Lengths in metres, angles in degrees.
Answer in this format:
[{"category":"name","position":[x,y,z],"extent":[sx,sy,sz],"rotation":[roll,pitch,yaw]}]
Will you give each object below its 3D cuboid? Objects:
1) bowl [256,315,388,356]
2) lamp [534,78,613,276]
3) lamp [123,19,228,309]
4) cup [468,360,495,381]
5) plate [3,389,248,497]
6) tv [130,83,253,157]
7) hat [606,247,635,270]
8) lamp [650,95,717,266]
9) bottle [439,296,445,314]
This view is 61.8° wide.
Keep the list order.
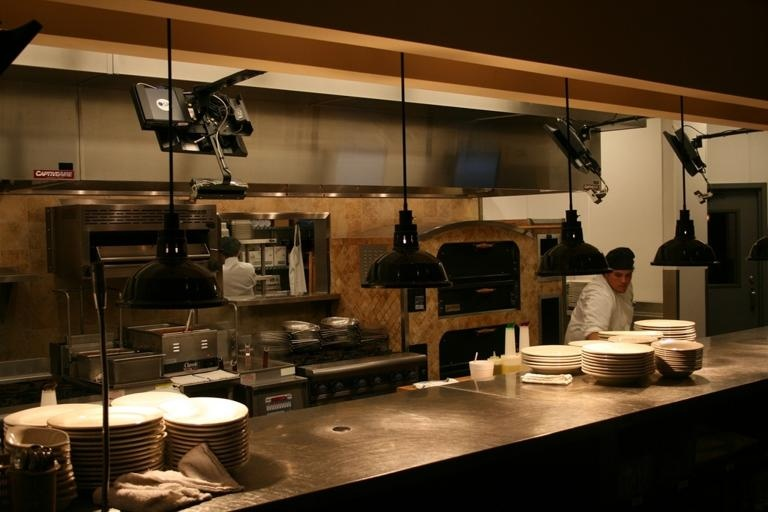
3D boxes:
[{"category":"bowl","position":[-0.567,0.758,6.048],"extent":[1.246,0.304,0.427],"rotation":[-3,6,-23]},{"category":"lamp","position":[1.161,-0.494,3.946],"extent":[0.513,1.195,0.462],"rotation":[-2,1,26]},{"category":"lamp","position":[-0.942,-0.408,2.730],"extent":[0.378,1.230,0.992],"rotation":[-3,6,-22]},{"category":"cup","position":[0.658,0.766,4.349],"extent":[0.140,0.086,0.142],"rotation":[1,0,0]},{"category":"plate","position":[-1.043,0.781,2.631],"extent":[0.577,0.158,0.554],"rotation":[0,-2,2]},{"category":"tv","position":[-1.163,-0.832,3.928],"extent":[0.249,0.355,0.753],"rotation":[-27,-13,37]},{"category":"hat","position":[2.015,0.026,5.455],"extent":[0.259,0.181,0.286],"rotation":[1,-3,2]},{"category":"lamp","position":[2.442,-0.508,5.229],"extent":[0.433,1.303,2.117],"rotation":[1,6,25]},{"category":"bottle","position":[0.562,0.494,6.238],"extent":[0.016,0.149,0.088],"rotation":[3,7,43]}]
